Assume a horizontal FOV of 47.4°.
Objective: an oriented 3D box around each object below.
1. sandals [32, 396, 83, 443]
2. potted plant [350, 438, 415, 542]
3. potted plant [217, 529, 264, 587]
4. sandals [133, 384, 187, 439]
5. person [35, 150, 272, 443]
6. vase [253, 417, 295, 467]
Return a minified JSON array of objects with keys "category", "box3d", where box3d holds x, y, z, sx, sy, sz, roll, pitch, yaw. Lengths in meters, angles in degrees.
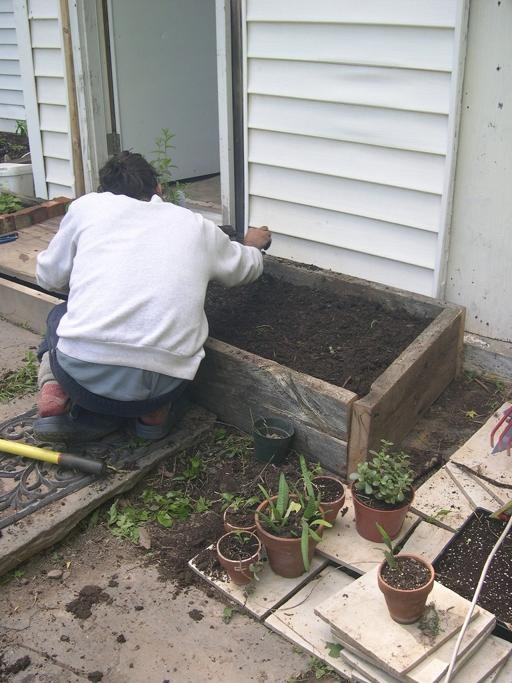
[{"category":"sandals","box3d":[-0.838,0.329,2.338,0.237,0.103,0.211,9,33,-14]},{"category":"potted plant","box3d":[0.423,0.519,1.994,0.222,0.277,0.212,18,36,24]},{"category":"potted plant","box3d":[-0.058,0.707,1.889,0.139,0.140,0.168,0,23,0]},{"category":"sandals","box3d":[-0.386,0.300,2.613,0.149,0.153,0.408,8,30,10]},{"category":"person","box3d":[-0.536,-0.156,2.403,0.820,1.157,0.757,4,24,8]},{"category":"vase","box3d":[0.046,0.413,2.446,0.186,0.141,0.191,-7,32,-19]}]
